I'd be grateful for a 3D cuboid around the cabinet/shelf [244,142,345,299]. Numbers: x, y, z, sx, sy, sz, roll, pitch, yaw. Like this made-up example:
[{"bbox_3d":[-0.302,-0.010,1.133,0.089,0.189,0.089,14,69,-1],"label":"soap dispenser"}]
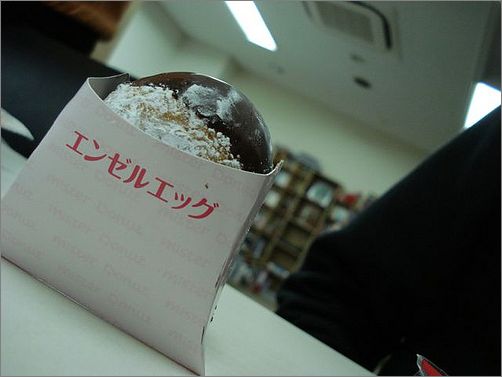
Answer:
[{"bbox_3d":[0.147,0.119,1.349,0.104,0.316,0.331,31,-1,-16],"label":"cabinet/shelf"}]
